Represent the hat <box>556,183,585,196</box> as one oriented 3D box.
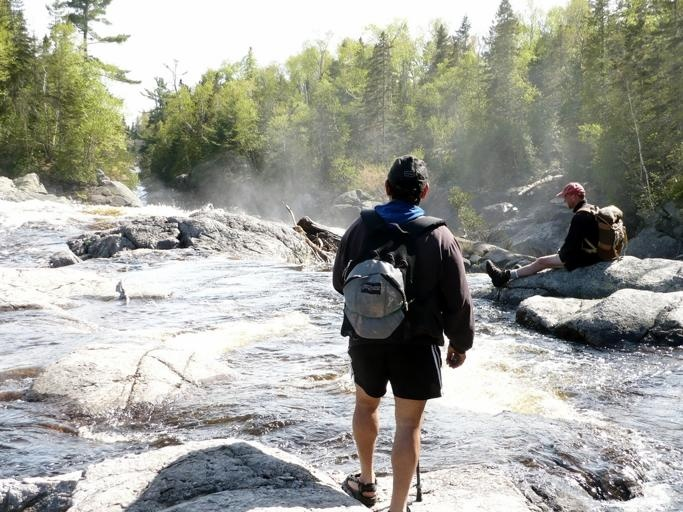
[{"bbox_3d":[4.339,-1.265,12.397,0.322,0.246,0.490,0,5,-43],"label":"hat"}]
